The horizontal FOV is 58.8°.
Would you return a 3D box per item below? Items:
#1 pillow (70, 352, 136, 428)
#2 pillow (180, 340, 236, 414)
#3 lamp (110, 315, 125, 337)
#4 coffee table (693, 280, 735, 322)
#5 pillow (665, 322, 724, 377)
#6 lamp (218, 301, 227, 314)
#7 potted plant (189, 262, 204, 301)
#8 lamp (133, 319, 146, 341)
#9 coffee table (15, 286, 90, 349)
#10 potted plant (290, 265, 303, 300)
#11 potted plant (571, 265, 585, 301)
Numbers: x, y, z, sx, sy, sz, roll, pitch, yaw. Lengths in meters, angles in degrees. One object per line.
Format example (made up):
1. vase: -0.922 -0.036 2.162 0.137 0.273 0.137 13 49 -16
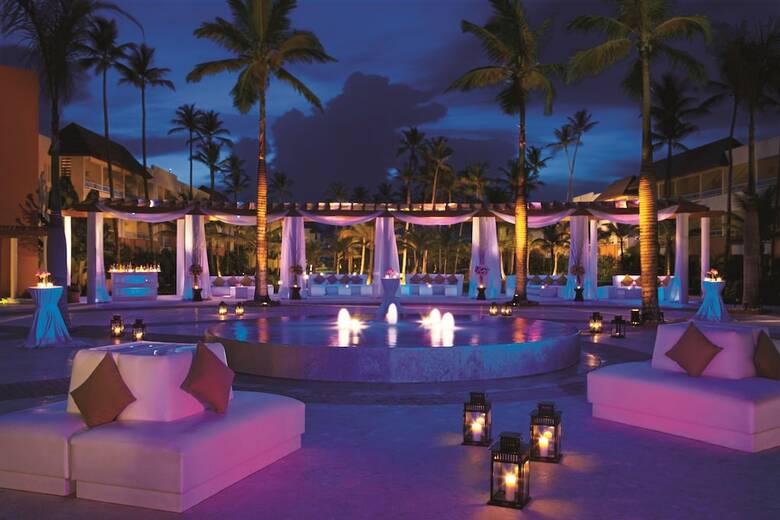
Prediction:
1. pillow: -4.060 1.883 9.769 0.860 0.815 0.260 -35 -11 -6
2. pillow: -2.616 1.694 10.064 0.282 0.874 0.957 -24 -53 41
3. lamp: -6.761 1.633 17.073 0.275 0.540 0.303 -7 14 -28
4. coffee table: 10.665 1.350 22.553 1.151 1.162 0.987 0 -1 18
5. pillow: 4.894 1.453 11.186 0.232 0.767 0.718 37 13 -53
6. lamp: -5.120 1.500 21.079 0.208 0.412 0.501 -4 13 -19
7. potted plant: -7.859 0.903 28.067 0.487 1.407 0.666 -4 13 -16
8. lamp: -5.840 1.587 15.986 0.235 0.447 0.474 -5 13 -23
9. coffee table: -8.052 1.273 16.134 1.069 1.383 0.957 -8 14 -32
10. potted plant: -3.920 0.872 28.888 0.561 1.327 1.006 -1 12 -5
11. potted plant: 7.846 0.912 28.708 0.509 1.525 0.526 2 13 12
